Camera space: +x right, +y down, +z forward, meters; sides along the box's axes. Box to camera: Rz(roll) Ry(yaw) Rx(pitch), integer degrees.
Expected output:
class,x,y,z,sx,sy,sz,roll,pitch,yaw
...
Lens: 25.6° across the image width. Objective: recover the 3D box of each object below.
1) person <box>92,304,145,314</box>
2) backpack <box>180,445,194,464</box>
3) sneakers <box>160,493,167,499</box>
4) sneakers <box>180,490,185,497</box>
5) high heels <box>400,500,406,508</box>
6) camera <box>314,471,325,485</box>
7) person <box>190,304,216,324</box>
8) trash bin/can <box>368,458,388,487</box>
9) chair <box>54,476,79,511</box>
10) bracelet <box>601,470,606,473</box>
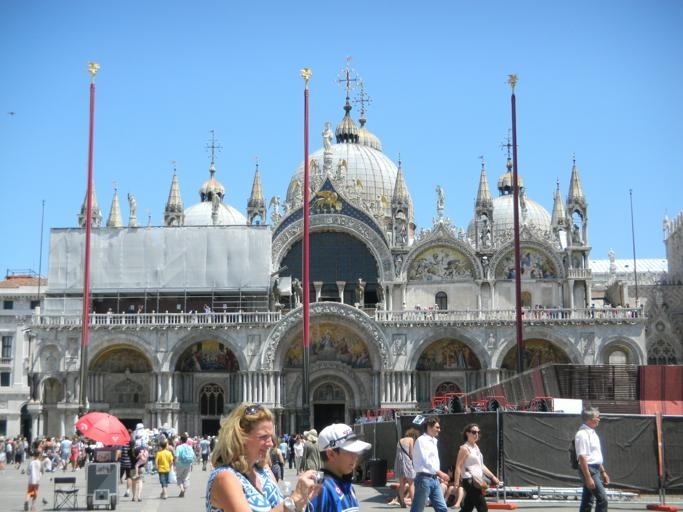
class,x,y,z,sx,sy,sz,roll,pitch,yaw
person,-13.080,3.326,88.909,2.923,0.453,0.638,-3,-4,5
backpack,-6.392,8.484,62.532,0.725,0.783,0.410,2,-10,-26
sneakers,-7.259,10.147,61.894,0.234,0.264,0.151,-3,-3,21
sneakers,-6.521,10.098,62.201,0.218,0.345,0.189,4,-7,-44
high heels,2.397,9.695,57.030,0.184,0.394,0.199,3,-8,2
camera,-0.603,6.832,45.095,0.313,0.342,0.211,-2,-6,16
person,-7.829,3.589,86.938,1.102,0.883,1.184,-1,-10,7
trash bin/can,1.558,9.374,63.293,0.892,1.201,0.959,4,-16,-14
chair,-11.044,9.878,60.620,1.013,1.519,0.997,1,-18,-10
bracelet,9.070,7.648,51.930,0.186,0.084,0.217,1,-6,-2
